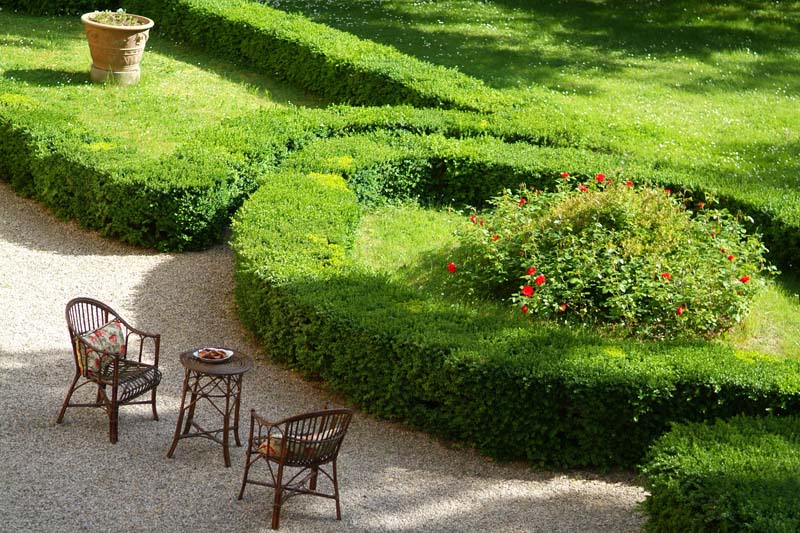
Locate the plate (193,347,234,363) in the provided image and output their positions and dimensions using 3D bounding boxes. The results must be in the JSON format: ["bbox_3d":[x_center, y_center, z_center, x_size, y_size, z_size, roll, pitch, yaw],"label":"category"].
[{"bbox_3d":[-2.759,1.288,17.263,0.609,0.137,0.350,3,15,-11],"label":"plate"}]

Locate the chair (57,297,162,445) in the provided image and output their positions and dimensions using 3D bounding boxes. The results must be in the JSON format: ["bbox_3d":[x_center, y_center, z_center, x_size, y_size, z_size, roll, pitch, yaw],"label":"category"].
[{"bbox_3d":[-4.392,1.406,17.739,1.486,1.808,2.003,3,15,-12],"label":"chair"}]

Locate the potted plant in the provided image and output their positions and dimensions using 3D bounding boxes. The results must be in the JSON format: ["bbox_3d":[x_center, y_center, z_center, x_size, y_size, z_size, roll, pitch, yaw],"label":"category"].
[{"bbox_3d":[-6.297,-4.807,25.963,1.672,1.353,1.603,3,20,-8],"label":"potted plant"}]

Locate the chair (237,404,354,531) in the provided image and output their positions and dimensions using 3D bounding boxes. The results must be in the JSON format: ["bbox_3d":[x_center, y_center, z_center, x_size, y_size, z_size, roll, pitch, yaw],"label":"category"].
[{"bbox_3d":[-1.487,2.684,16.803,1.522,1.669,1.454,6,15,0],"label":"chair"}]
